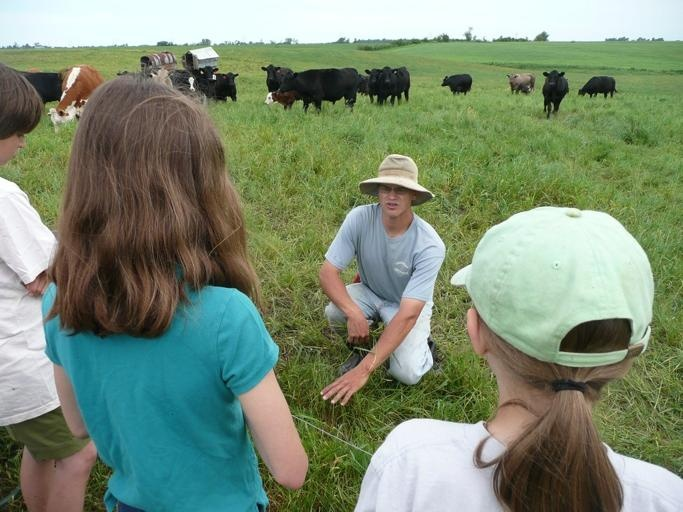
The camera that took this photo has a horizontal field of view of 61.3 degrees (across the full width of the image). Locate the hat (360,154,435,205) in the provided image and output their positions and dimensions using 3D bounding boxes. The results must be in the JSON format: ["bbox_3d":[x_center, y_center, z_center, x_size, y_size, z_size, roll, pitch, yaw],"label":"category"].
[{"bbox_3d":[0.362,-0.509,4.084,0.547,0.421,0.486,6,26,15],"label":"hat"}]

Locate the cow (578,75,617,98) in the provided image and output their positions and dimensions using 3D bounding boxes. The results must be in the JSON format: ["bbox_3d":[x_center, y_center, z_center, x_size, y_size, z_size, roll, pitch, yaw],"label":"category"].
[{"bbox_3d":[9.649,-6.271,21.618,1.167,0.910,2.165,9,27,21],"label":"cow"}]

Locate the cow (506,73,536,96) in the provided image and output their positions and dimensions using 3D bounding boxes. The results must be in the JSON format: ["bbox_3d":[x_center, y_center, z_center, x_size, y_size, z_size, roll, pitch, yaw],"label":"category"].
[{"bbox_3d":[7.303,-6.980,23.199,0.876,0.575,1.327,3,25,9],"label":"cow"}]

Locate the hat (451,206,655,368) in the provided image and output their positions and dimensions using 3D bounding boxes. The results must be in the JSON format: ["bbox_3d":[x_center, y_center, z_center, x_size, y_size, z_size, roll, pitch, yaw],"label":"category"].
[{"bbox_3d":[0.682,0.071,1.935,0.415,0.317,0.573,0,22,-3],"label":"hat"}]
